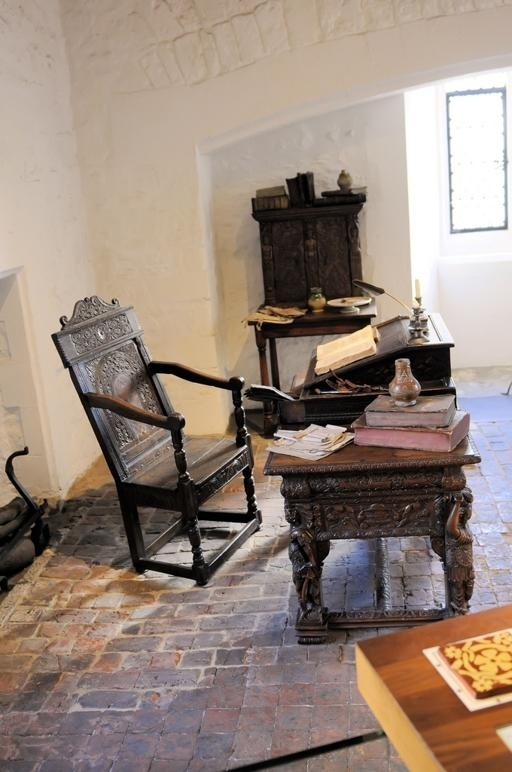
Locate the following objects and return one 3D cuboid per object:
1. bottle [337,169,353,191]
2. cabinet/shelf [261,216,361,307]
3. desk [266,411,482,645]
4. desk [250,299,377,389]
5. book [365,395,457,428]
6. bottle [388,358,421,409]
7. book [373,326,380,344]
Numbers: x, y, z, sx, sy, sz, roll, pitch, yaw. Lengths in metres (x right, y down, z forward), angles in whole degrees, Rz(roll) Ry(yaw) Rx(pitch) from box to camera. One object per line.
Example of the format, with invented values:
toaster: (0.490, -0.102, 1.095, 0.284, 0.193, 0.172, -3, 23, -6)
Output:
bottle: (0.733, -1.673, 4.946, 0.113, 0.194, 0.360, -5, 15, 11)
cabinet/shelf: (0.478, -1.050, 4.977, 0.852, 0.754, 0.366, -3, 19, 8)
desk: (0.586, 0.671, 2.468, 0.793, 0.631, 0.683, -11, -17, 27)
desk: (0.465, -0.445, 5.181, 1.106, 0.921, 0.877, 2, 46, 5)
book: (0.576, 0.094, 2.244, 0.310, 0.078, 0.199, -1, 15, 22)
bottle: (0.551, -0.012, 2.228, 0.127, 0.161, 0.124, -7, 15, 2)
book: (0.600, -0.254, 3.005, 0.025, 0.080, 0.096, -6, -6, 18)
